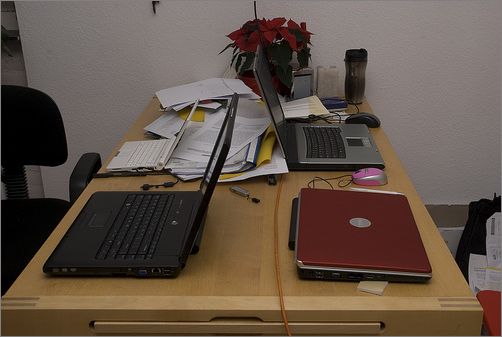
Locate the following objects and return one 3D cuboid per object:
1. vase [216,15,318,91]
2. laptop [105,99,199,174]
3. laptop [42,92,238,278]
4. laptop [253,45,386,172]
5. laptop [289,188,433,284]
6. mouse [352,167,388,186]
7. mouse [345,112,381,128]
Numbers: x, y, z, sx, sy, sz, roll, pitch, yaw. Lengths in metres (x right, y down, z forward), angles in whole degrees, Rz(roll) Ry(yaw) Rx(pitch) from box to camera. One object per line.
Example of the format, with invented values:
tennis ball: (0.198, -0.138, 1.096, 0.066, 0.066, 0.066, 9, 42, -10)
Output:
vase: (0.092, -0.635, 1.855, 0.431, 0.284, 0.409, -14, 28, -15)
laptop: (-0.377, -0.115, 1.381, 0.258, 0.151, 0.247, 4, 39, 9)
laptop: (-0.296, 0.084, 1.055, 0.521, 0.341, 0.481, 5, 35, 3)
laptop: (0.278, -0.199, 1.457, 0.550, 0.365, 0.475, -3, 31, 1)
laptop: (0.302, 0.162, 1.000, 0.260, 0.058, 0.250, 2, 40, 2)
mouse: (0.416, 0.027, 1.274, 0.100, 0.030, 0.060, 2, 32, 5)
mouse: (0.502, -0.222, 1.635, 0.128, 0.039, 0.066, 5, 24, 2)
